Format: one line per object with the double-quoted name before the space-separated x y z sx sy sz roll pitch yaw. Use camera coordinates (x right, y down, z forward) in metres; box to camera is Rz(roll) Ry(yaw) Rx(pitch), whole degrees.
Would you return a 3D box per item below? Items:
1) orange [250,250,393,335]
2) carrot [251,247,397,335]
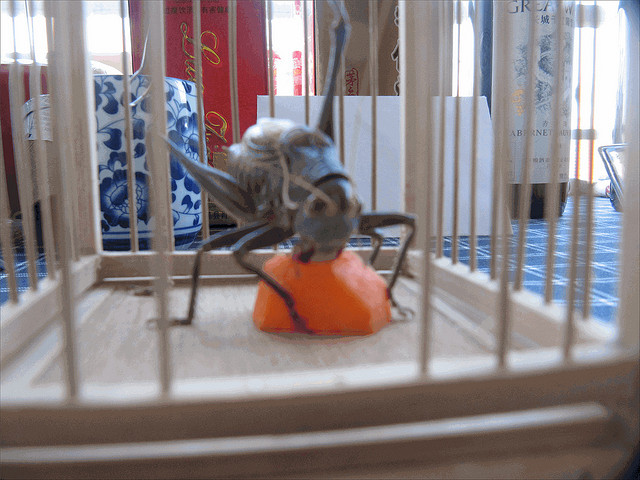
"orange" 0.006 0.069 0.802 0.213 0.100 0.243 -3 11 -13
"carrot" 0.001 0.079 0.759 0.203 0.108 0.093 -1 10 9
